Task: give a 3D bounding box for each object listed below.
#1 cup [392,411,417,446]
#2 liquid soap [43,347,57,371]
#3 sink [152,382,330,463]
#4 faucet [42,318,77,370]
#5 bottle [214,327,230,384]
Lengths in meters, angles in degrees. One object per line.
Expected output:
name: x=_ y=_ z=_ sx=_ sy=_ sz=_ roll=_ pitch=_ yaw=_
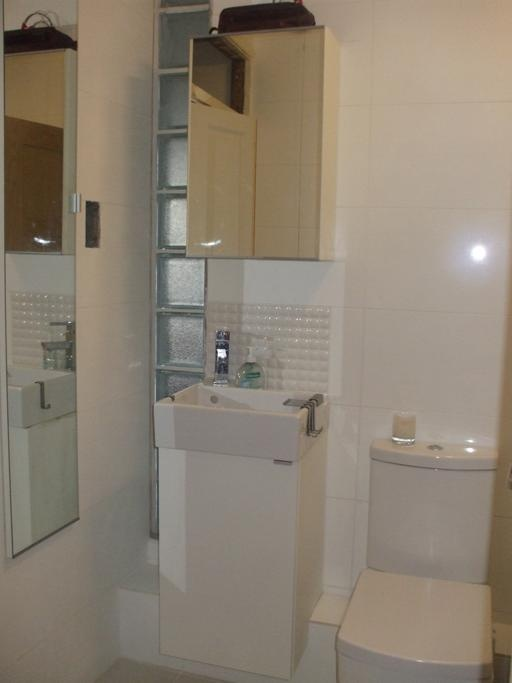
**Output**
cup: x=0.414 y=0.243 z=1.753 sx=0.064 sy=0.089 sz=0.071 roll=2 pitch=2 yaw=-5
liquid soap: x=-0.514 y=0.047 z=1.560 sx=0.035 sy=0.076 sz=0.039 roll=2 pitch=3 yaw=15
sink: x=-0.042 y=0.220 z=1.689 sx=0.313 sy=0.144 sz=0.244 roll=3 pitch=2 yaw=16
faucet: x=-0.505 y=0.010 z=1.619 sx=0.057 sy=0.158 sz=0.095 roll=0 pitch=0 yaw=19
bottle: x=-0.109 y=0.048 z=1.976 sx=0.050 sy=0.164 sz=0.032 roll=-2 pitch=7 yaw=7
